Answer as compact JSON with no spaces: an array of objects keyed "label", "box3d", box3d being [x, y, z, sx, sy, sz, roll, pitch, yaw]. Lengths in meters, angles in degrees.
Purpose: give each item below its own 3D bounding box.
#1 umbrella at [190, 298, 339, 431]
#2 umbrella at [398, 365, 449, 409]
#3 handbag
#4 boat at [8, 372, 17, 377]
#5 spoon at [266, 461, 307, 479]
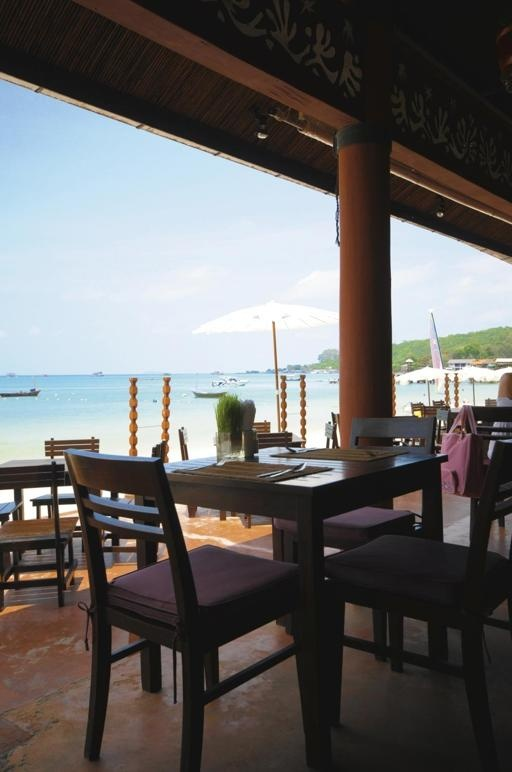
[{"label":"umbrella","box3d":[0.367,-0.449,7.779,1.495,1.592,1.675,7,6,6]},{"label":"umbrella","box3d":[7.698,0.119,25.605,2.562,1.991,2.678,-3,-9,5]},{"label":"handbag","box3d":[1.036,0.337,2.817,0.180,0.472,0.314,8,-8,-11]},{"label":"boat","box3d":[-22.836,-1.018,50.734,0.719,0.594,1.732,-4,-3,-25]},{"label":"spoon","box3d":[0.080,0.196,1.365,0.031,0.030,0.237,5,3,24]}]
